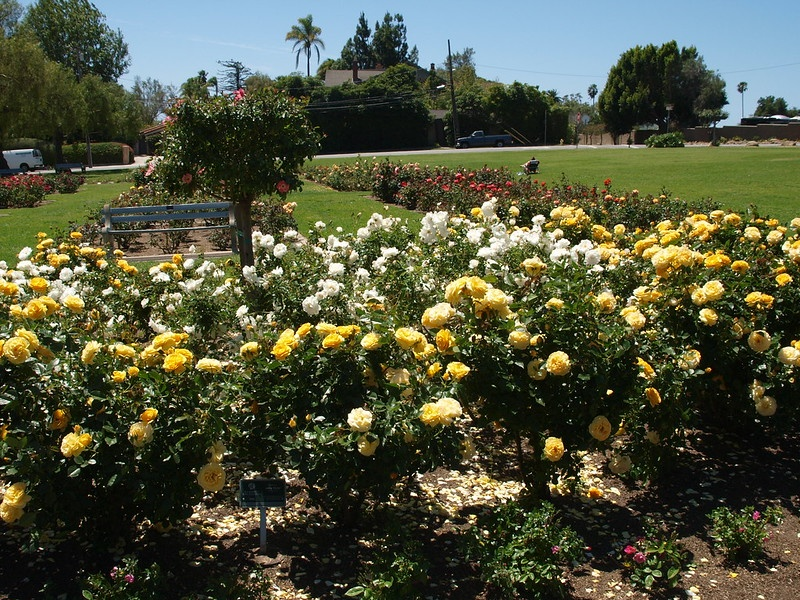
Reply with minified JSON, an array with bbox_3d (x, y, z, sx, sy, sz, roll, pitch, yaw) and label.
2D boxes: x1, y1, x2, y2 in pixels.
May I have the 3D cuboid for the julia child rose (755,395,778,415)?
[{"bbox_3d":[2.674,0.785,4.519,0.134,0.160,0.108,-12,21,-34],"label":"julia child rose"}]

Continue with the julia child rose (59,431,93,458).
[{"bbox_3d":[-1.784,0.801,3.405,0.139,0.064,0.151,9,61,14],"label":"julia child rose"}]

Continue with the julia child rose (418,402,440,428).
[{"bbox_3d":[0.170,0.657,3.473,0.119,0.147,0.111,1,17,3],"label":"julia child rose"}]

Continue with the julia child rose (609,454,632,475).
[{"bbox_3d":[1.492,1.109,4.169,0.149,0.121,0.124,4,18,12],"label":"julia child rose"}]

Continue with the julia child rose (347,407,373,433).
[{"bbox_3d":[-0.209,0.678,3.500,0.136,0.135,0.093,39,-4,16],"label":"julia child rose"}]

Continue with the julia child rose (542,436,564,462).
[{"bbox_3d":[0.925,0.906,3.737,0.110,0.160,0.153,4,18,13],"label":"julia child rose"}]

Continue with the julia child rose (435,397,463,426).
[{"bbox_3d":[0.276,0.627,3.491,0.137,0.141,0.172,0,18,1],"label":"julia child rose"}]

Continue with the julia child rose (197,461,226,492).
[{"bbox_3d":[-1.109,1.068,3.640,0.151,0.210,0.158,-6,18,-19],"label":"julia child rose"}]

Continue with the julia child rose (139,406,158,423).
[{"bbox_3d":[-1.403,0.654,3.459,0.092,0.101,0.072,-6,18,-19],"label":"julia child rose"}]
